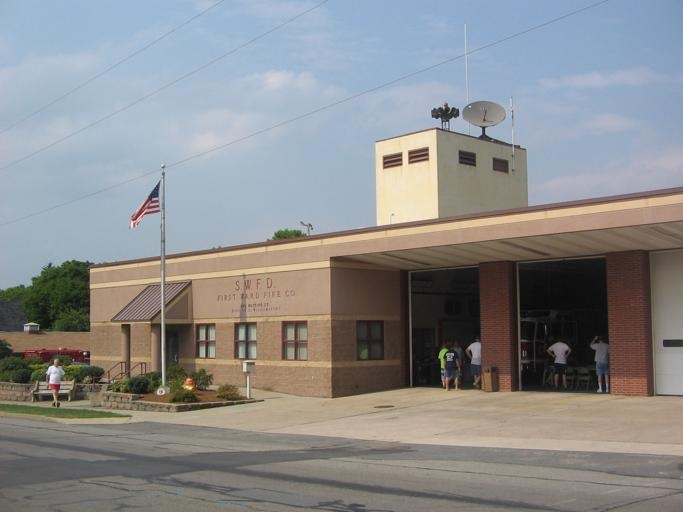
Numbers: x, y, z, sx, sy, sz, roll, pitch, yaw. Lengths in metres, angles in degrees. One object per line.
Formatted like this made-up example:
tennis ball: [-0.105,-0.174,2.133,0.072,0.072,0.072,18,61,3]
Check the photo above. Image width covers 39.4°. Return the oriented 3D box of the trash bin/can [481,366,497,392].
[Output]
trash bin/can: [5.375,4.437,34.363,0.576,0.899,0.517,-2,-11,8]
